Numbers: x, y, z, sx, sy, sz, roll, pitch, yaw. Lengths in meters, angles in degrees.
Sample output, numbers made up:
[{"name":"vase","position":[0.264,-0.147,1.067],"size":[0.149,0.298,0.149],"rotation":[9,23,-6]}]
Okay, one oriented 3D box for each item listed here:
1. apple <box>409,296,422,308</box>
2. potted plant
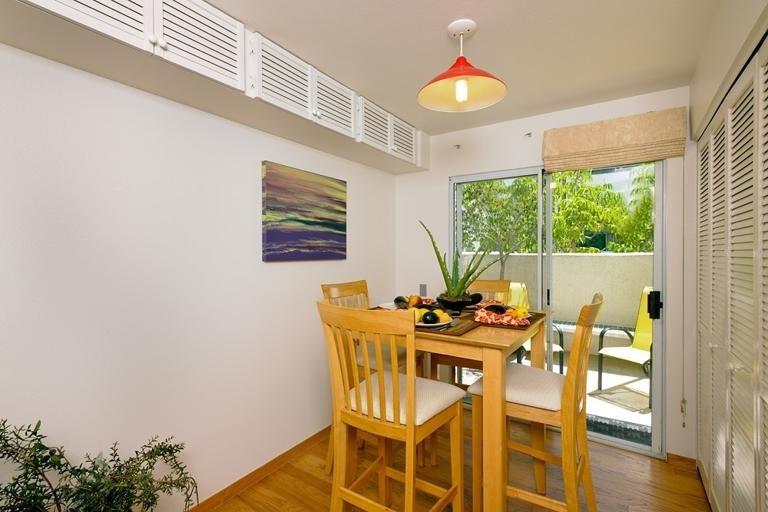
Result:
[{"name":"apple","position":[0.252,0.342,3.696],"size":[0.079,0.109,0.084],"rotation":[-2,-1,28]},{"name":"potted plant","position":[0.672,0.138,4.057],"size":[0.778,0.774,0.856],"rotation":[5,9,12]}]
